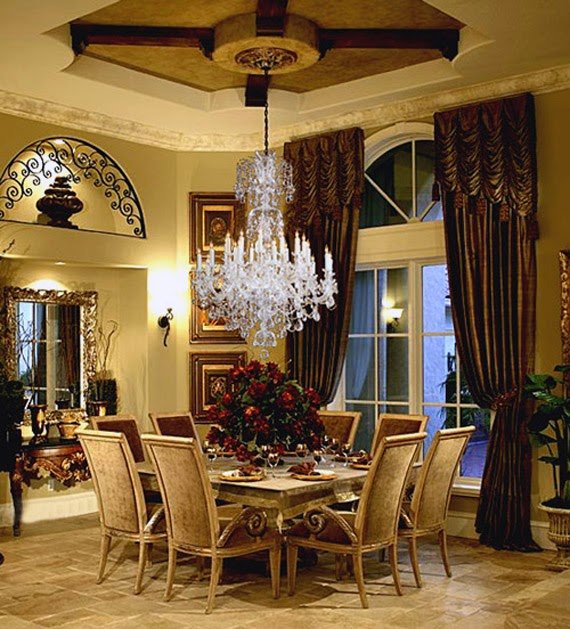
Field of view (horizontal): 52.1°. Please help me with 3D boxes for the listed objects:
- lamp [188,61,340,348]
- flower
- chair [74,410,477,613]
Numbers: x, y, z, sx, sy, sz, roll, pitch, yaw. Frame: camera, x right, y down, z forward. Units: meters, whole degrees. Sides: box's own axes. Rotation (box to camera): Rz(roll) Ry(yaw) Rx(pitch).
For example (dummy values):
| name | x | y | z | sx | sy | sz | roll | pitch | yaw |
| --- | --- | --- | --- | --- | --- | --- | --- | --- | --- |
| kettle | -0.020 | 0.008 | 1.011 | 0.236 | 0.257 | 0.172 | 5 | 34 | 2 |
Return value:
| name | x | y | z | sx | sy | sz | roll | pitch | yaw |
| --- | --- | --- | --- | --- | --- | --- | --- | --- | --- |
| lamp | -0.178 | -0.873 | 5.432 | 1.260 | 2.334 | 1.273 | -4 | -1 | 39 |
| flower | -0.141 | 0.631 | 4.199 | 0.680 | 0.765 | 0.708 | 3 | 2 | 11 |
| chair | -0.083 | 1.271 | 3.736 | 2.442 | 1.033 | 0.980 | -3 | 1 | -8 |
